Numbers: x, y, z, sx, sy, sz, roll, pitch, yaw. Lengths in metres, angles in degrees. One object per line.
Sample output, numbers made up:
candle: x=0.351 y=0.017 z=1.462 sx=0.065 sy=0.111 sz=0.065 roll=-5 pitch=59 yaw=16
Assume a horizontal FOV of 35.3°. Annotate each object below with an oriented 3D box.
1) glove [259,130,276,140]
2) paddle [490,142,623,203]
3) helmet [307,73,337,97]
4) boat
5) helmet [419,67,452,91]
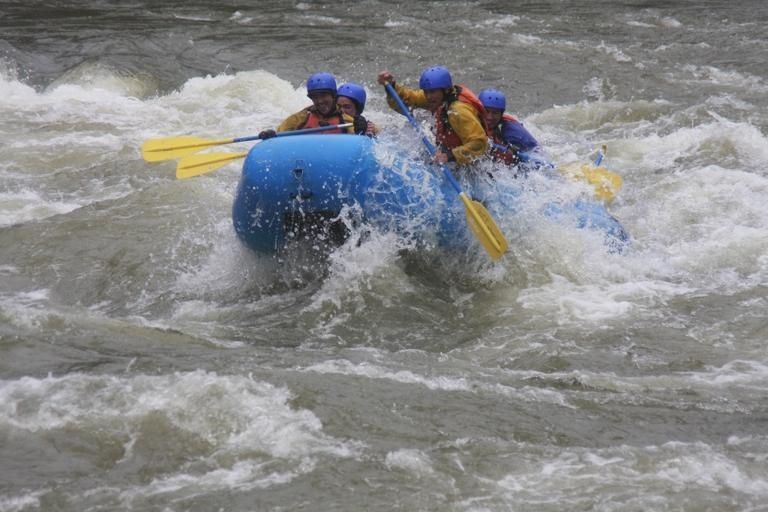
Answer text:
glove: x=-1.577 y=-1.664 z=16.259 sx=0.170 sy=0.074 sz=0.186 roll=-10 pitch=8 yaw=-2
paddle: x=2.763 y=-1.261 z=17.721 sx=2.188 sy=0.467 sz=0.846 roll=18 pitch=-12 yaw=-25
helmet: x=-0.887 y=-2.469 z=17.012 sx=0.338 sy=0.269 sz=0.405 roll=1 pitch=13 yaw=15
boat: x=0.251 y=-0.753 z=16.244 sx=4.636 sy=1.165 sz=1.913 roll=11 pitch=30 yaw=-23
helmet: x=0.687 y=-2.435 z=16.338 sx=0.437 sy=0.205 sz=0.326 roll=-6 pitch=5 yaw=-36
